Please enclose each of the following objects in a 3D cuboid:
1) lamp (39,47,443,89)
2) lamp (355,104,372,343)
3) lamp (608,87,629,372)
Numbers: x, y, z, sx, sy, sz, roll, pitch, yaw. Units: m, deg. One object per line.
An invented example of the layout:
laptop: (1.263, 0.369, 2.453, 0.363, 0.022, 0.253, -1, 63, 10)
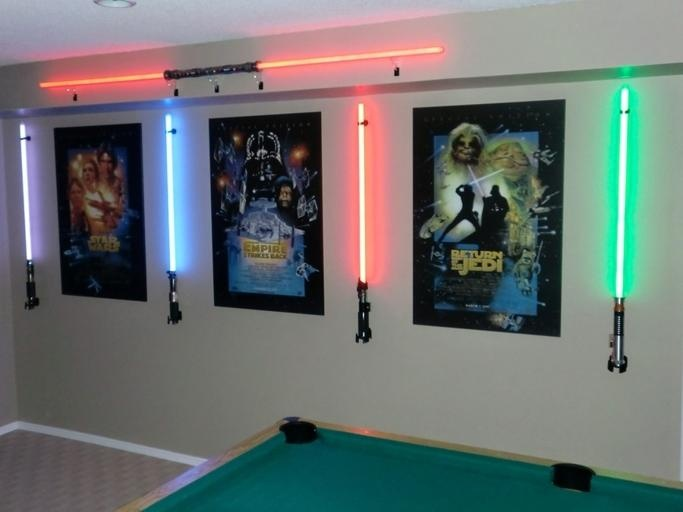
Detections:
lamp: (-0.801, -1.331, 4.314, 3.034, 0.132, 0.081, 0, 5, 18)
lamp: (0.139, -0.223, 4.340, 0.141, 1.716, 0.134, -2, 5, 1)
lamp: (1.721, -0.150, 3.788, 0.116, 1.782, 0.163, 0, 5, 28)
